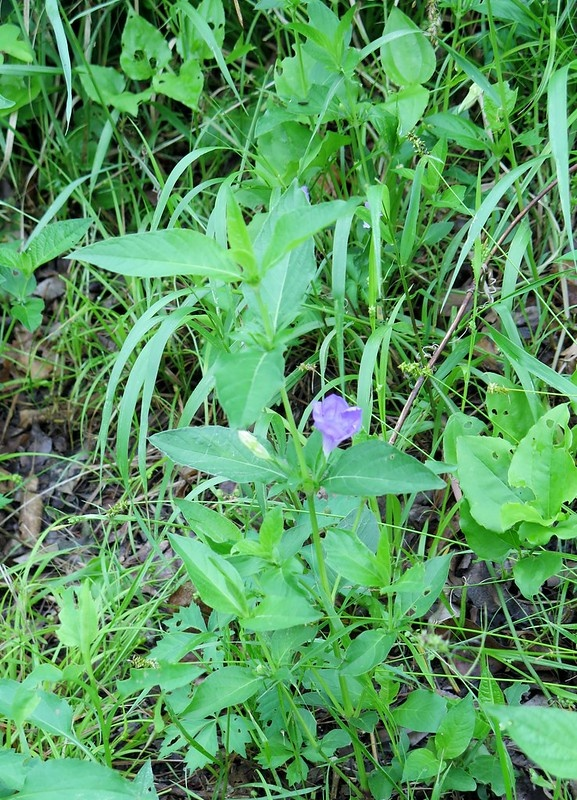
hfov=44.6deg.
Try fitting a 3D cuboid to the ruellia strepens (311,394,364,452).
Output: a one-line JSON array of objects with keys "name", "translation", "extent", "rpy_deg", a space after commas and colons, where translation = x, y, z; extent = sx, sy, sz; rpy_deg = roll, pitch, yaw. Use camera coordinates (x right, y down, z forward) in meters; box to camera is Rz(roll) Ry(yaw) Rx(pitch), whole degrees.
[{"name": "ruellia strepens", "translation": [0.092, 0.039, 1.369], "extent": [0.097, 0.132, 0.110], "rpy_deg": [-22, 74, -9]}]
